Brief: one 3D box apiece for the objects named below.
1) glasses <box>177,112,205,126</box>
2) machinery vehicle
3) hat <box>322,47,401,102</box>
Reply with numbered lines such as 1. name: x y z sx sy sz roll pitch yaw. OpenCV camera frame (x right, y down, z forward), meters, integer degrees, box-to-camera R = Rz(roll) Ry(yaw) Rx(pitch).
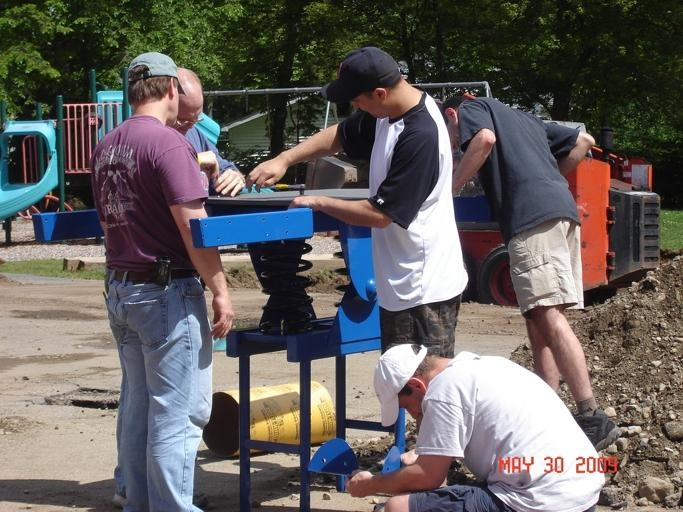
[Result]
1. glasses: -1.225 -1.109 9.073 0.220 0.067 0.223 7 13 36
2. machinery vehicle: 2.571 -0.435 16.365 3.858 2.553 2.777 -4 1 37
3. hat: 0.125 -1.368 8.186 0.606 0.288 0.424 -18 34 -10
